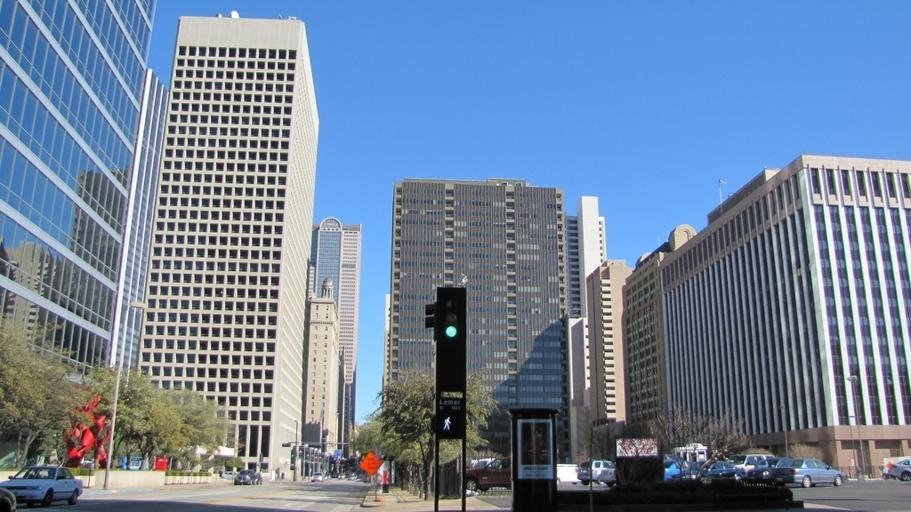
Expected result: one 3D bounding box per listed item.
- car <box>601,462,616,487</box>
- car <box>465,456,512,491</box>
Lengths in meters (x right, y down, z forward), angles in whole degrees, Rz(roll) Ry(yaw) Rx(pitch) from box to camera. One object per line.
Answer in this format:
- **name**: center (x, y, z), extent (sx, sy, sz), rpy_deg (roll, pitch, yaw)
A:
- **car**: center (18.636, 26.566, 95.794), extent (1.641, 3.541, 4.484), rpy_deg (-2, -24, 8)
- **car**: center (4.010, 25.959, 92.649), extent (4.795, 3.776, 1.635), rpy_deg (5, -24, -8)
